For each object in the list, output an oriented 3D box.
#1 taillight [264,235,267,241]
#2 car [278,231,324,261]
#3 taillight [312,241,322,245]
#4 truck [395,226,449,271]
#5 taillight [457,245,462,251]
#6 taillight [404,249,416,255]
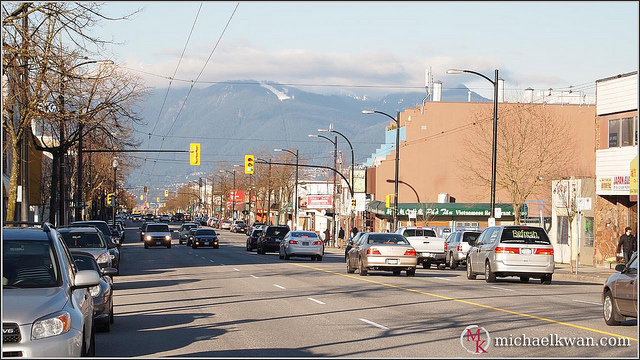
[{"bbox_3d":[-4.280,4.540,59.025,0.277,0.423,0.260,0,-4,-21],"label":"taillight"},{"bbox_3d":[-1.438,4.463,53.970,2.624,1.736,5.887,2,-1,-10],"label":"car"},{"bbox_3d":[-0.207,4.255,51.314,0.590,0.211,0.097,2,-4,-20],"label":"taillight"},{"bbox_3d":[6.700,4.200,48.499,2.842,2.225,5.770,0,-3,-6],"label":"truck"},{"bbox_3d":[8.776,4.257,47.568,0.085,0.355,0.453,3,-5,-32],"label":"taillight"},{"bbox_3d":[4.578,3.650,38.481,0.198,0.257,0.698,-4,-6,45],"label":"taillight"}]
